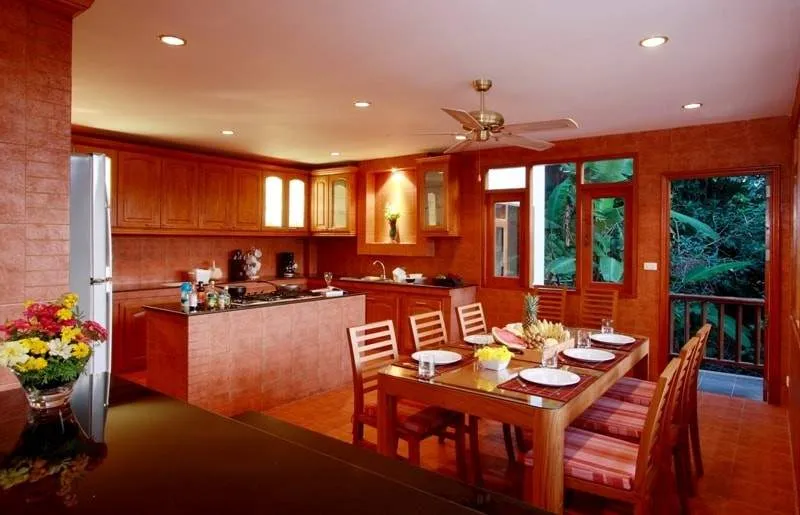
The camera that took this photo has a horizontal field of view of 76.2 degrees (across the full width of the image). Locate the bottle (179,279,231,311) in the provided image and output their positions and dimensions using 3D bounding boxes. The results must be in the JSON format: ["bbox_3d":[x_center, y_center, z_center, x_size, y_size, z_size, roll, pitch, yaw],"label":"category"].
[{"bbox_3d":[-1.891,0.387,5.076,0.450,0.218,0.591,1,-5,-1],"label":"bottle"}]

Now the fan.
[{"bbox_3d":[0.733,-1.076,4.253,0.962,0.306,0.879,-1,1,-38],"label":"fan"}]

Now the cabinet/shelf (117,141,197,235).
[{"bbox_3d":[-3.321,-0.838,6.539,0.824,0.954,1.093,7,7,26],"label":"cabinet/shelf"}]

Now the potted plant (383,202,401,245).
[{"bbox_3d":[-0.116,-0.515,7.566,0.223,0.531,0.366,3,11,-1],"label":"potted plant"}]

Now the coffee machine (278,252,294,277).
[{"bbox_3d":[-1.797,0.099,8.040,0.265,0.357,0.289,-1,11,-22],"label":"coffee machine"}]

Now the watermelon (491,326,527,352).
[{"bbox_3d":[0.848,0.629,4.022,0.197,0.065,0.230,10,15,-24],"label":"watermelon"}]

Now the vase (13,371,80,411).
[{"bbox_3d":[-1.828,0.697,2.652,0.248,0.158,0.251,3,-1,44],"label":"vase"}]

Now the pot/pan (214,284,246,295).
[{"bbox_3d":[-1.961,0.360,5.847,0.265,0.068,0.166,-2,-4,7],"label":"pot/pan"}]

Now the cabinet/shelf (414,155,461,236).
[{"bbox_3d":[0.533,-0.821,7.064,0.570,1.036,0.403,2,7,27],"label":"cabinet/shelf"}]

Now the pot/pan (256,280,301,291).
[{"bbox_3d":[-1.589,0.354,6.752,0.577,0.075,0.317,0,-2,33],"label":"pot/pan"}]
